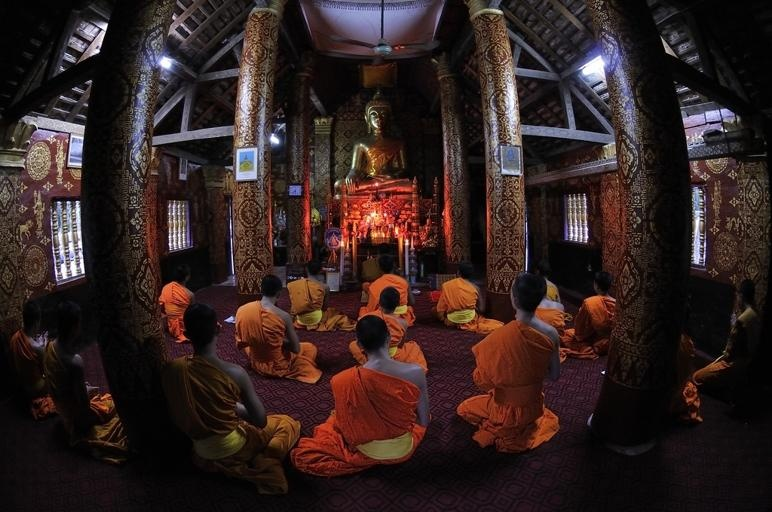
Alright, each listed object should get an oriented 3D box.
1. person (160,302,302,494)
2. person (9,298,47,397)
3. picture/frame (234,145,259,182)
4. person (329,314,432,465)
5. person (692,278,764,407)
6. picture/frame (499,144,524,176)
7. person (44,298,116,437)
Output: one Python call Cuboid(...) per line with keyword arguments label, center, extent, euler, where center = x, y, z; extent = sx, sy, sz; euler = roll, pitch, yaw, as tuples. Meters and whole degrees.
Cuboid(label="person", center=(-1.532, 1.346, 4.617), extent=(1.253, 1.761, 1.158), euler=(-2, 4, 21))
Cuboid(label="person", center=(-3.859, 1.023, 5.094), extent=(0.419, 1.055, 0.270), euler=(2, 5, 33))
Cuboid(label="picture/frame", center=(-2.055, -1.385, 6.980), extent=(0.491, 0.721, 0.057), euler=(-1, -2, 5))
Cuboid(label="person", center=(-0.093, 1.268, 4.649), extent=(1.049, 1.353, 0.934), euler=(-3, 8, 1))
Cuboid(label="person", center=(3.542, 0.882, 4.880), extent=(0.527, 1.304, 0.207), euler=(3, 5, 38))
Cuboid(label="picture/frame", center=(1.890, -1.430, 6.998), extent=(0.054, 0.562, 0.384), euler=(-17, 17, -34))
Cuboid(label="person", center=(-3.023, 1.120, 4.645), extent=(0.560, 1.361, 0.279), euler=(-4, 5, -39))
